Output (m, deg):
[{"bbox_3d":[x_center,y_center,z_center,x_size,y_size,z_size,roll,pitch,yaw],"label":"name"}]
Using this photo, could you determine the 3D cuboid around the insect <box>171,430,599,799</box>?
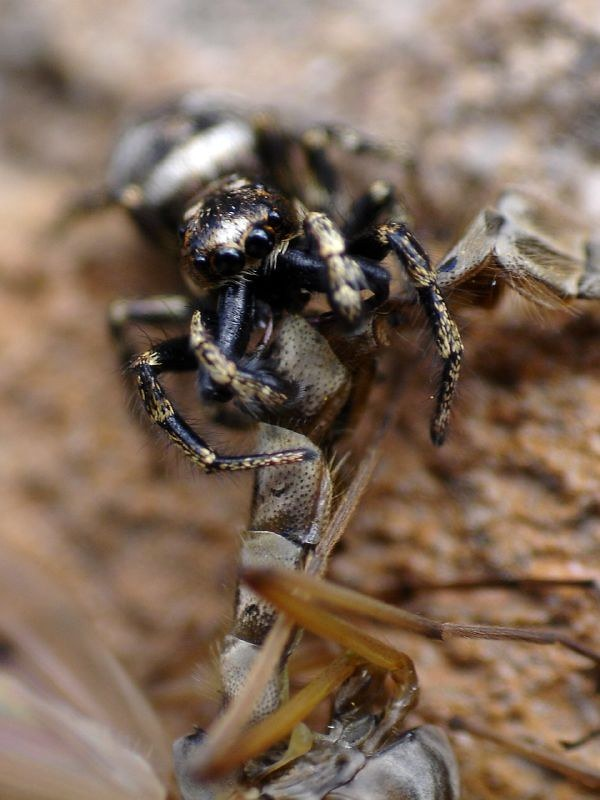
[{"bbox_3d":[0.033,0.208,0.777,0.312,0.156,0.372,-1,106,-32],"label":"insect"}]
